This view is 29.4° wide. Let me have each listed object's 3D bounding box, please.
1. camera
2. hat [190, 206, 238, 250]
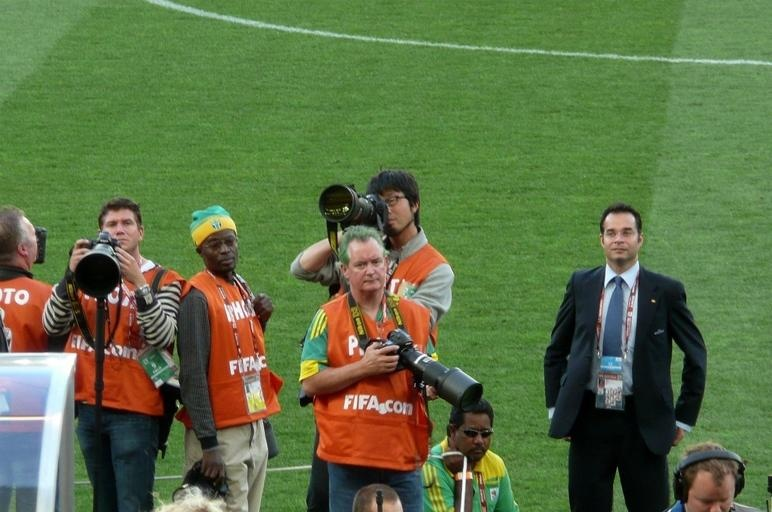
[{"bbox_3d":[0.351,0.982,12.793,0.425,0.397,1.153,-20,35,-38],"label":"camera"},{"bbox_3d":[-1.599,-0.281,13.527,0.415,0.359,0.403,-23,-11,35],"label":"hat"}]
